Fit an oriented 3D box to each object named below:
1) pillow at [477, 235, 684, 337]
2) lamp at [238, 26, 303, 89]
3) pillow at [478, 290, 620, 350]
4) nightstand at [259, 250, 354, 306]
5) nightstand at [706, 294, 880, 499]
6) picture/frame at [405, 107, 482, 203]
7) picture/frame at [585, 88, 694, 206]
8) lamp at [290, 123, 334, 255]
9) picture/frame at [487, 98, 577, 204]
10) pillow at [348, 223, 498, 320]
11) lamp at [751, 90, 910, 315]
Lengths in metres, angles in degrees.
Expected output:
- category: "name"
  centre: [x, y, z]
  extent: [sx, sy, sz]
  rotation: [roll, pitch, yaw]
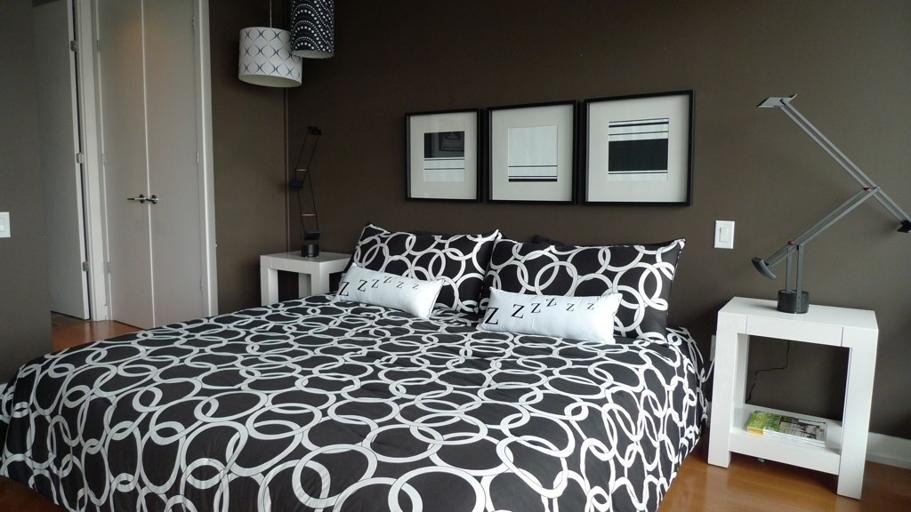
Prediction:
- category: "pillow"
  centre: [0.982, 0.224, 4.709]
  extent: [1.384, 0.522, 0.561]
  rotation: [1, 23, 39]
- category: "lamp"
  centre: [-1.600, -1.816, 5.548]
  extent: [0.509, 0.389, 0.516]
  rotation: [15, 23, 29]
- category: "pillow"
  centre: [0.667, 0.420, 4.460]
  extent: [1.029, 0.341, 0.309]
  rotation: [2, 1, 32]
- category: "nightstand"
  centre: [-1.541, 0.293, 5.840]
  extent: [0.548, 0.544, 0.529]
  rotation: [7, 2, -10]
- category: "nightstand"
  centre: [2.310, 0.940, 4.261]
  extent: [1.014, 1.182, 0.539]
  rotation: [9, 8, 29]
- category: "picture/frame"
  centre: [-0.076, -0.897, 5.387]
  extent: [0.861, 0.801, 0.065]
  rotation: [-4, 3, 29]
- category: "picture/frame"
  centre: [1.446, -0.845, 4.743]
  extent: [0.954, 0.936, 0.045]
  rotation: [0, 3, 23]
- category: "lamp"
  centre: [-1.406, -0.704, 6.096]
  extent: [0.345, 1.023, 0.181]
  rotation: [-12, -6, 25]
- category: "picture/frame"
  centre: [0.658, -0.868, 5.057]
  extent: [0.905, 0.927, 0.075]
  rotation: [2, 2, 24]
- category: "pillow"
  centre: [-0.224, 0.074, 5.148]
  extent: [1.327, 0.520, 0.529]
  rotation: [-1, 28, 21]
- category: "lamp"
  centre: [2.606, -0.352, 4.278]
  extent: [1.053, 1.514, 0.427]
  rotation: [7, 8, 10]
